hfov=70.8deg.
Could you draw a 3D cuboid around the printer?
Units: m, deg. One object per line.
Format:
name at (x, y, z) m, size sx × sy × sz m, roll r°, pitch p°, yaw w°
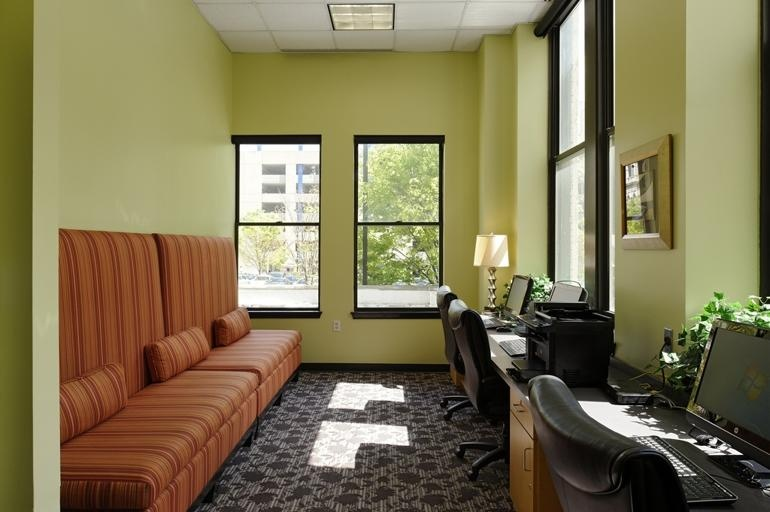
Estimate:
printer at (1.121, 0.579, 3.533) m, size 0.617 × 0.485 × 0.480 m, roll 1°, pitch -1°, yaw 2°
